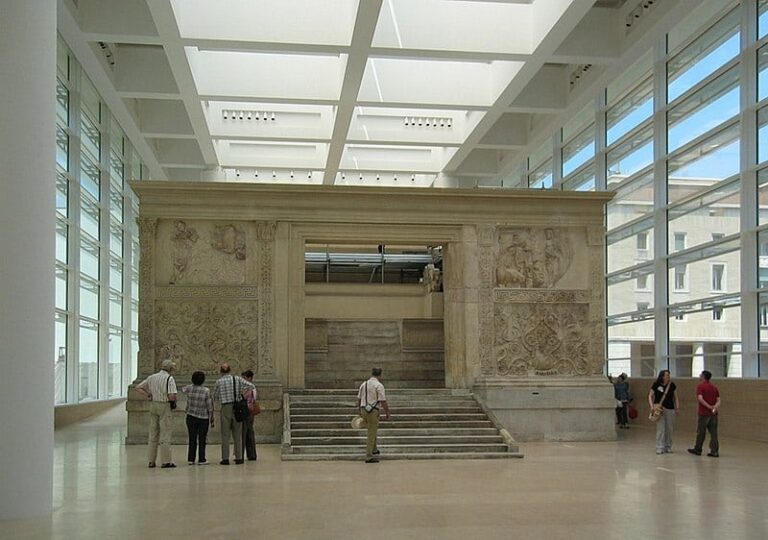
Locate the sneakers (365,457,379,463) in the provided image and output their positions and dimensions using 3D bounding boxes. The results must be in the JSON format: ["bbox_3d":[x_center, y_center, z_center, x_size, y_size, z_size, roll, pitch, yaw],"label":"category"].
[{"bbox_3d":[-0.262,4.316,15.038,0.302,0.124,0.107,0,-4,-6],"label":"sneakers"}]

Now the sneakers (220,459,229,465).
[{"bbox_3d":[-3.464,4.207,14.537,0.174,0.124,0.250,3,-9,-14],"label":"sneakers"}]

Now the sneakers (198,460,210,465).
[{"bbox_3d":[-3.967,4.229,14.598,0.184,0.104,0.343,2,-9,-11],"label":"sneakers"}]

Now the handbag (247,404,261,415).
[{"bbox_3d":[-2.958,3.205,15.216,0.231,0.393,0.267,0,-5,-21],"label":"handbag"}]

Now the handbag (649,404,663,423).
[{"bbox_3d":[6.650,3.515,16.349,0.276,0.400,0.349,-4,-10,29],"label":"handbag"}]

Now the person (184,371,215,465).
[{"bbox_3d":[-4.120,3.279,14.737,0.643,1.997,0.956,4,-9,-17],"label":"person"}]

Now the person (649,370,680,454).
[{"bbox_3d":[6.926,3.534,16.514,0.572,1.995,0.850,-3,-10,22],"label":"person"}]

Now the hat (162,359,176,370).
[{"bbox_3d":[-4.737,2.118,14.671,0.246,0.290,0.302,1,-2,1],"label":"hat"}]

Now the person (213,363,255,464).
[{"bbox_3d":[-3.397,3.258,15.062,0.762,2.161,0.793,6,-10,-28],"label":"person"}]

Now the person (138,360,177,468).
[{"bbox_3d":[-4.923,3.142,14.627,0.784,2.254,1.145,4,-10,-20],"label":"person"}]
